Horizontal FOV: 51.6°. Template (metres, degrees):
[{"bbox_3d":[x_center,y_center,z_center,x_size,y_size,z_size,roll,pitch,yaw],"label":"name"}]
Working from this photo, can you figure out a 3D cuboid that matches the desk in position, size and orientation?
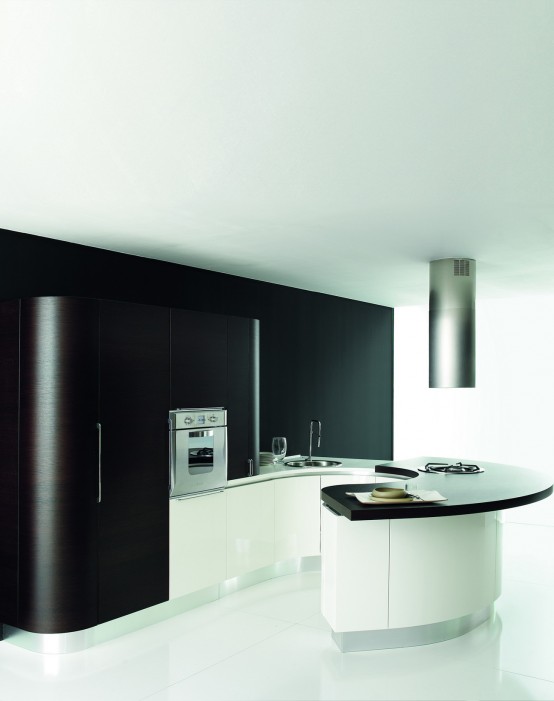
[{"bbox_3d":[0.969,1.307,3.610,1.435,0.949,1.069,2,-6,-18],"label":"desk"}]

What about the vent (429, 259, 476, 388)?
[{"bbox_3d":[1.459,-0.228,4.774,0.341,1.047,0.223,-1,-5,6],"label":"vent"}]

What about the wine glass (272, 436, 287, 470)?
[{"bbox_3d":[0.016,0.939,5.341,0.132,0.251,0.333,0,-6,-1],"label":"wine glass"}]

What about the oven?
[{"bbox_3d":[-0.581,0.735,4.275,0.410,0.646,0.403,-2,3,-10],"label":"oven"}]
